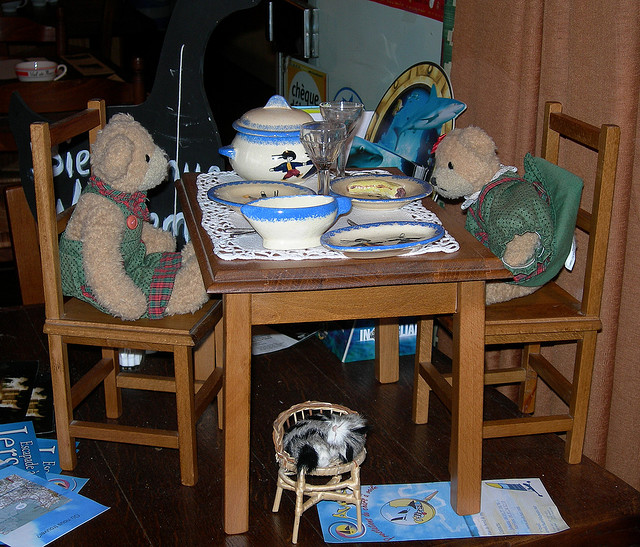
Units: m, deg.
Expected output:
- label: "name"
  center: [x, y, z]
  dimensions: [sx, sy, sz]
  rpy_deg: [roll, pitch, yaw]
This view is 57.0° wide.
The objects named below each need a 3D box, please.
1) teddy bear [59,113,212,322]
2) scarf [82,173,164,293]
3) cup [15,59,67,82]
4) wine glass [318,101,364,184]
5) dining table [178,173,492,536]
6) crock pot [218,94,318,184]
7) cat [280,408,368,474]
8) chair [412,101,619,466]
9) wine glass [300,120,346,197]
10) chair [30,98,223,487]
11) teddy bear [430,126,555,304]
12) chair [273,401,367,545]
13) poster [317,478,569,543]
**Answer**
- label: "teddy bear"
  center: [-0.480, -0.130, 1.456]
  dimensions: [0.302, 0.462, 0.349]
  rpy_deg: [-16, 26, -36]
- label: "scarf"
  center: [-0.491, -0.061, 1.495]
  dimensions: [0.168, 0.320, 0.158]
  rpy_deg: [-10, 29, -23]
- label: "cup"
  center: [-1.304, -0.932, 2.733]
  dimensions: [0.176, 0.068, 0.151]
  rpy_deg: [5, 31, -12]
- label: "wine glass"
  center: [0.065, -0.373, 1.532]
  dimensions: [0.091, 0.091, 0.186]
  rpy_deg: [-9, 19, 11]
- label: "dining table"
  center: [0.030, 0.244, 1.518]
  dimensions: [0.724, 0.552, 0.774]
  rpy_deg: [-4, 2, 18]
- label: "crock pot"
  center: [-0.143, -0.374, 1.639]
  dimensions: [0.198, 0.252, 0.200]
  rpy_deg: [1, 28, 0]
- label: "cat"
  center: [0.027, 0.334, 1.265]
  dimensions: [0.111, 0.075, 0.161]
  rpy_deg: [9, 16, 24]
- label: "chair"
  center: [0.503, 0.038, 1.611]
  dimensions: [0.491, 0.886, 0.481]
  rpy_deg: [-11, 18, -27]
- label: "wine glass"
  center: [0.010, -0.260, 1.468]
  dimensions: [0.114, 0.198, 0.109]
  rpy_deg: [-7, 17, -24]
- label: "chair"
  center: [-0.476, 0.054, 1.596]
  dimensions: [0.420, 0.897, 0.435]
  rpy_deg: [2, 14, -1]
- label: "teddy bear"
  center: [0.410, -0.108, 1.533]
  dimensions: [0.266, 0.466, 0.260]
  rpy_deg: [-5, 28, -14]
- label: "chair"
  center: [0.000, 0.455, 1.308]
  dimensions: [0.217, 0.275, 0.202]
  rpy_deg: [-5, 17, -16]
- label: "poster"
  center: [0.283, 0.561, 1.399]
  dimensions: [0.573, 0.018, 0.186]
  rpy_deg: [-1, 21, -4]
